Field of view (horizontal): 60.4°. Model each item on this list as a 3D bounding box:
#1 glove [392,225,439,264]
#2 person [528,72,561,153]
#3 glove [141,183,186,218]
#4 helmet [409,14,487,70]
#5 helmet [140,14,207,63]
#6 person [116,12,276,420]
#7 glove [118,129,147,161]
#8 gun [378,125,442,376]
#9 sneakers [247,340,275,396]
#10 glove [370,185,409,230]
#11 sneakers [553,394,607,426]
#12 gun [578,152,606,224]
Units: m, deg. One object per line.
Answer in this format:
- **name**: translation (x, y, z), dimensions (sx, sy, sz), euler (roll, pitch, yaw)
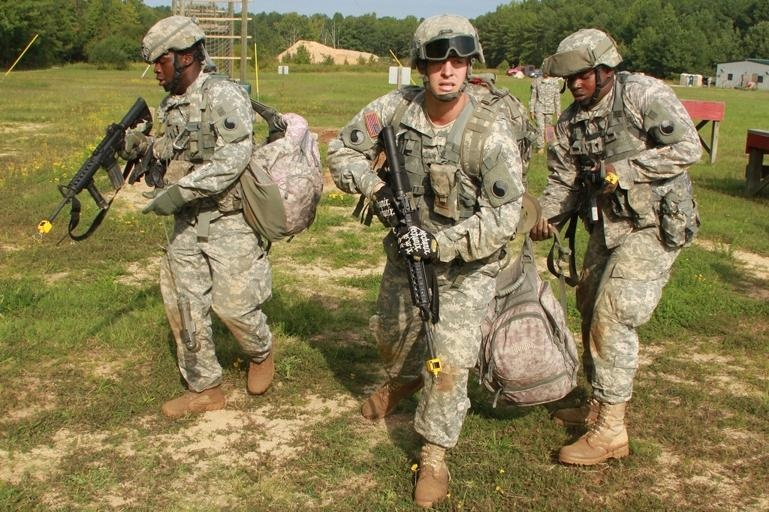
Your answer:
- **glove**: translation (0.243, -0.089, 4.985), dimensions (0.316, 0.248, 0.170), euler (2, 18, 1)
- **person**: translation (3.773, -3.567, 15.727), dimensions (0.700, 2.230, 0.554), euler (5, 50, 14)
- **glove**: translation (-1.871, -0.469, 5.563), dimensions (0.315, 0.237, 0.115), euler (-32, 42, -17)
- **helmet**: translation (0.483, -1.686, 5.246), dimensions (0.588, 0.399, 0.607), euler (-9, 19, -10)
- **helmet**: translation (-1.867, -1.932, 5.798), dimensions (0.564, 0.297, 0.416), euler (-19, 28, -10)
- **person**: translation (-1.651, -0.307, 5.875), dimensions (1.116, 3.410, 1.002), euler (14, 22, 33)
- **glove**: translation (-2.344, -1.052, 6.198), dimensions (0.200, 0.275, 0.136), euler (12, -9, -18)
- **gun**: translation (0.205, -0.096, 5.227), dimensions (0.337, 1.984, 0.632), euler (-11, -2, 3)
- **sneakers**: translation (-1.188, 1.060, 6.327), dimensions (0.177, 0.528, 0.211), euler (0, -6, 5)
- **glove**: translation (0.030, -0.378, 5.138), dimensions (0.121, 0.232, 0.334), euler (-3, 59, -45)
- **sneakers**: translation (1.757, 1.419, 6.009), dimensions (0.446, 0.294, 0.180), euler (10, 25, 16)
- **gun**: translation (1.805, -0.598, 5.804), dimensions (0.153, 0.627, 0.313), euler (-1, 5, 2)
